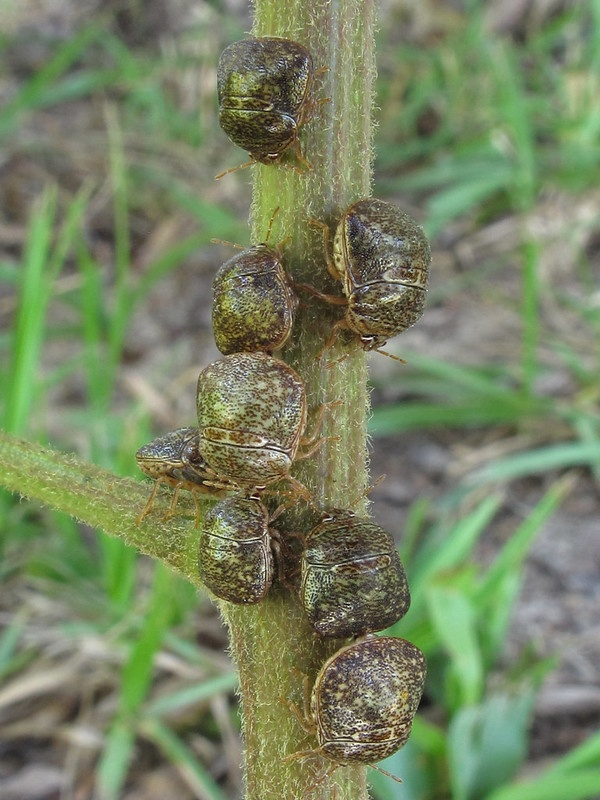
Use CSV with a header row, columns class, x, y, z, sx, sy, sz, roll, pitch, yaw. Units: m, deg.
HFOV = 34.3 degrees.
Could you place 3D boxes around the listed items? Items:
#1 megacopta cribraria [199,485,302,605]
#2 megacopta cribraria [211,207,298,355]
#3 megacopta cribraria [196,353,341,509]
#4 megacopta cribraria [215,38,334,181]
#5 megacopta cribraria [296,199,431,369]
class,x,y,z,sx,sy,sz,roll,pitch,yaw
megacopta cribraria,-0.095,0.277,1.863,0.221,0.070,0.195,5,88,23
megacopta cribraria,-0.104,-0.213,1.887,0.223,0.091,0.260,-8,68,25
megacopta cribraria,-0.087,0.046,1.943,0.330,0.374,0.235,-7,105,-19
megacopta cribraria,-0.053,-0.580,1.901,0.214,0.145,0.252,0,78,0
megacopta cribraria,0.129,-0.219,2.038,0.257,0.432,0.329,4,79,2
